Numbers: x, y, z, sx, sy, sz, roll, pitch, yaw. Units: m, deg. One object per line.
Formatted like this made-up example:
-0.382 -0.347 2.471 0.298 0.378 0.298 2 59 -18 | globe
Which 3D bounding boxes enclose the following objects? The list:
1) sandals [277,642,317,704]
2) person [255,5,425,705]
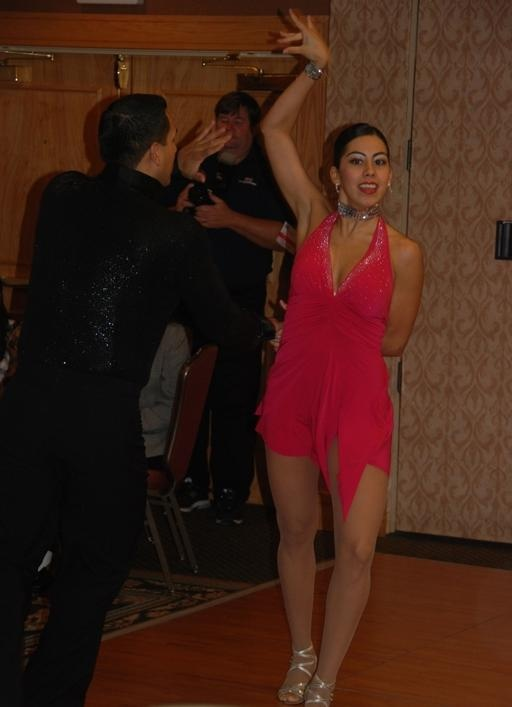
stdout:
0.132 0.841 1.585 0.065 0.079 0.201 7 52 23 | sandals
0.215 0.169 1.478 0.418 1.565 0.278 1 -1 0 | person
